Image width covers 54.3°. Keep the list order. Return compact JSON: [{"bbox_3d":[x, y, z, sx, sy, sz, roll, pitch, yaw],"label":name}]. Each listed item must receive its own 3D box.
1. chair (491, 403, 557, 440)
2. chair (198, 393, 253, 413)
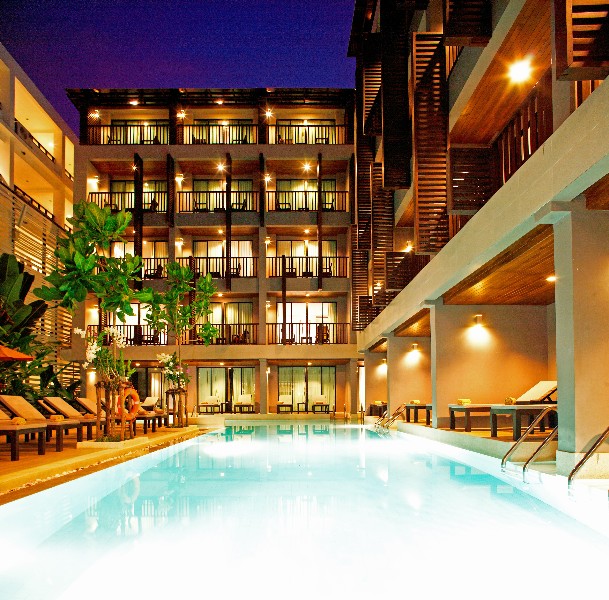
[{"bbox_3d":[3.577,1.959,9.659,0.750,0.635,1.213,2,-11,-6],"label":"chair"},{"bbox_3d":[-3.701,4.786,27.871,2.723,0.944,1.720,-1,-12,6],"label":"chair"}]
